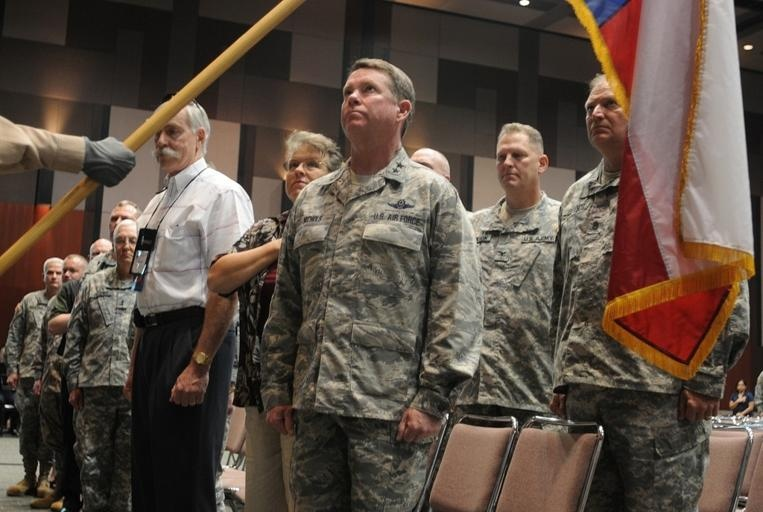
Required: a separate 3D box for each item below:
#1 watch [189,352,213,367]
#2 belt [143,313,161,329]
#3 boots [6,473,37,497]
[{"bbox_3d":[-0.906,0.516,3.920,0.071,0.044,0.070,12,-19,19],"label":"watch"},{"bbox_3d":[-1.232,0.344,4.176,0.081,0.087,0.033,-6,-20,32],"label":"belt"},{"bbox_3d":[-3.306,2.134,7.175,0.111,0.153,0.351,-3,-19,15],"label":"boots"}]
